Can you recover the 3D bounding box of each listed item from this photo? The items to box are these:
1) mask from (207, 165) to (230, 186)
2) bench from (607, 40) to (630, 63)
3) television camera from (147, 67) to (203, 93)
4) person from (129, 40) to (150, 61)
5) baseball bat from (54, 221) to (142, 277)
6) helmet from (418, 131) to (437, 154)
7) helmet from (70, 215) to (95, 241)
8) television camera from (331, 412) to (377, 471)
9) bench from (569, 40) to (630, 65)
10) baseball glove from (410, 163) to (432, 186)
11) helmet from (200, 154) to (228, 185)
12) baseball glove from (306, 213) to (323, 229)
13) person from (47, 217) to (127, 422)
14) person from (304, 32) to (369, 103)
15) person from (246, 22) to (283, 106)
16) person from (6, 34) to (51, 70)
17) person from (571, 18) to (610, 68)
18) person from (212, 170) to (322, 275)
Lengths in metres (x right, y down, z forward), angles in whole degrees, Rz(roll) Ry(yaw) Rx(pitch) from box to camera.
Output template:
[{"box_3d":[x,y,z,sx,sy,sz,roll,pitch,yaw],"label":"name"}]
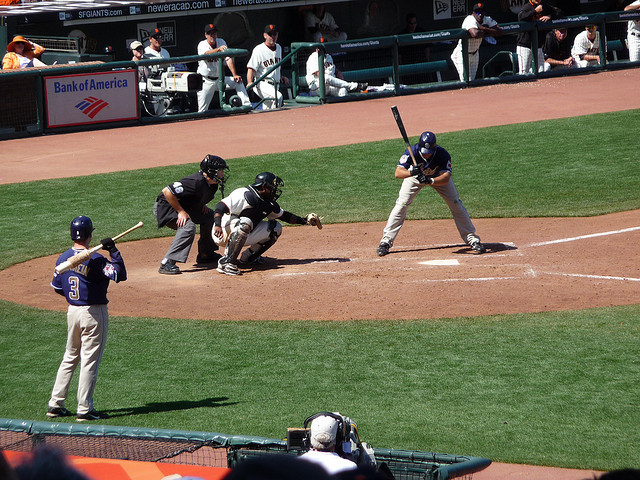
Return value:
[{"box_3d":[-1.420,-0.925,15.441,0.337,0.265,0.263,-3,18,-6],"label":"mask"},{"box_3d":[7.792,-4.908,29.076,0.518,0.642,2.002,-3,5,14],"label":"bench"},{"box_3d":[-3.067,-3.432,23.858,1.062,0.372,0.600,3,7,35],"label":"television camera"},{"box_3d":[-3.889,-4.098,24.066,0.359,0.469,1.066,-5,5,-9],"label":"person"},{"box_3d":[-2.763,0.116,13.924,1.390,0.196,0.177,-28,-23,-26],"label":"baseball bat"},{"box_3d":[1.530,-1.398,15.695,0.245,0.148,0.290,4,47,0],"label":"helmet"},{"box_3d":[-2.577,-0.142,12.144,0.221,0.192,0.264,1,-5,0],"label":"helmet"},{"box_3d":[0.317,1.881,10.409,0.623,0.370,0.400,6,21,9],"label":"television camera"},{"box_3d":[7.453,-4.817,28.993,0.837,0.812,0.835,-4,15,-6],"label":"bench"},{"box_3d":[1.438,-0.919,15.724,0.122,0.299,0.304,-48,-4,-13],"label":"baseball glove"},{"box_3d":[-1.468,-0.979,15.288,0.411,0.334,0.338,3,14,-3],"label":"helmet"},{"box_3d":[-0.080,-0.326,15.706,0.203,0.098,0.245,2,-24,19],"label":"baseball glove"},{"box_3d":[-2.548,0.823,12.048,0.957,2.147,0.468,-5,5,-12],"label":"person"},{"box_3d":[0.238,-3.802,25.379,0.964,1.262,1.636,-2,5,25],"label":"person"},{"box_3d":[-1.262,-3.959,25.247,0.759,1.815,0.757,-4,5,-3],"label":"person"},{"box_3d":[-6.576,-4.067,24.175,1.186,0.611,0.879,15,14,39],"label":"person"},{"box_3d":[6.687,-4.939,27.861,0.881,1.176,1.024,-7,39,-2],"label":"person"},{"box_3d":[-0.832,-0.284,15.704,1.704,1.237,1.004,1,6,-34],"label":"person"}]
